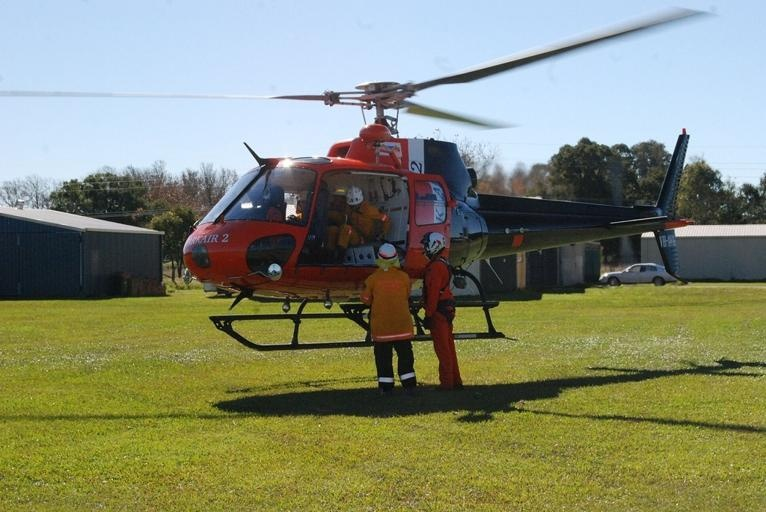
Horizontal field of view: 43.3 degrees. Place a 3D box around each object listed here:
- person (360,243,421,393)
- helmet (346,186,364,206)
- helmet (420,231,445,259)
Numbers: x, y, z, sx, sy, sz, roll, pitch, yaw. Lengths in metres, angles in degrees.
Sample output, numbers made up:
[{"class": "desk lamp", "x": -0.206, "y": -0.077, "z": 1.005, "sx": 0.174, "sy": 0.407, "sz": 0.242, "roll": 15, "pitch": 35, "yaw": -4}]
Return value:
[{"class": "person", "x": 0.132, "y": 1.142, "z": 16.581, "sx": 0.903, "sy": 2.593, "sz": 1.018, "roll": 0, "pitch": 14, "yaw": -1}, {"class": "helmet", "x": -0.483, "y": -1.075, "z": 17.619, "sx": 0.318, "sy": 0.207, "sz": 0.373, "roll": 3, "pitch": 11, "yaw": 8}, {"class": "helmet", "x": 1.018, "y": -0.200, "z": 17.392, "sx": 0.543, "sy": 0.417, "sz": 0.386, "roll": 7, "pitch": 0, "yaw": 26}]
